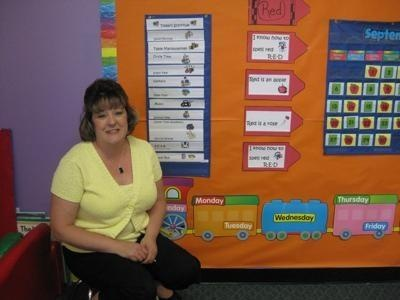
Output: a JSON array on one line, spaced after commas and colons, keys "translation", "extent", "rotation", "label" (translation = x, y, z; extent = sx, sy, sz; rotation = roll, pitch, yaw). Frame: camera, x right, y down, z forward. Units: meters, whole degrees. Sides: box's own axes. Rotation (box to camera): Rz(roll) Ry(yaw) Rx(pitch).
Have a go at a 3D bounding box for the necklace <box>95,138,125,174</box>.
[{"translation": [-0.486, 0.040, 2.452], "extent": [0.152, 0.213, 0.055], "rotation": [-5, 6, -25], "label": "necklace"}]
